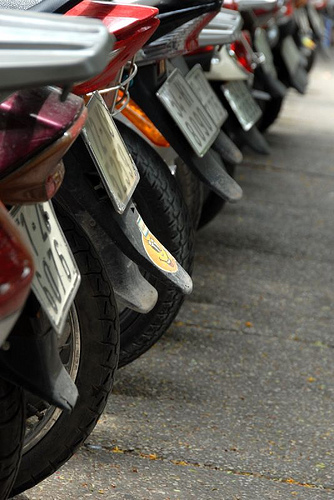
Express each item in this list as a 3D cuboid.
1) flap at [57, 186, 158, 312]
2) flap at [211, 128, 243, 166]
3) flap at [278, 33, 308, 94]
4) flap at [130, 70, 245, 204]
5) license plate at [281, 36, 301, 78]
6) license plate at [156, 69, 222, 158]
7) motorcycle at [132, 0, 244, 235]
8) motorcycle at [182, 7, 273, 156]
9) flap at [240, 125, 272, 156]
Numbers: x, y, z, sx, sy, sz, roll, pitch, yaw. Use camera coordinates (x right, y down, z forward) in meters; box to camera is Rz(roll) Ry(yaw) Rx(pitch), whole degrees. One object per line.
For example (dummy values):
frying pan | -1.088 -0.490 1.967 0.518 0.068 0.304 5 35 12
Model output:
flap | -0.173 0.047 1.416 0.098 0.369 0.352 -43 13 -2
flap | 0.314 -0.553 2.365 0.186 0.180 0.164 1 32 -1
flap | 1.549 -2.198 5.219 0.413 0.758 0.458 4 31 11
flap | 0.083 -0.536 2.081 0.444 0.593 0.601 1 33 3
license plate | 1.532 -2.328 5.243 0.230 0.065 0.885 -5 -16 20
license plate | 0.116 -0.623 1.967 0.298 0.394 0.315 5 28 12
motorcycle | 0.077 -0.671 1.922 0.345 0.370 1.250 0 36 -8
motorcycle | 0.406 -1.089 2.698 0.626 1.016 0.823 -2 34 2
flap | 0.616 -0.751 2.962 0.068 0.257 0.189 -42 -9 13
